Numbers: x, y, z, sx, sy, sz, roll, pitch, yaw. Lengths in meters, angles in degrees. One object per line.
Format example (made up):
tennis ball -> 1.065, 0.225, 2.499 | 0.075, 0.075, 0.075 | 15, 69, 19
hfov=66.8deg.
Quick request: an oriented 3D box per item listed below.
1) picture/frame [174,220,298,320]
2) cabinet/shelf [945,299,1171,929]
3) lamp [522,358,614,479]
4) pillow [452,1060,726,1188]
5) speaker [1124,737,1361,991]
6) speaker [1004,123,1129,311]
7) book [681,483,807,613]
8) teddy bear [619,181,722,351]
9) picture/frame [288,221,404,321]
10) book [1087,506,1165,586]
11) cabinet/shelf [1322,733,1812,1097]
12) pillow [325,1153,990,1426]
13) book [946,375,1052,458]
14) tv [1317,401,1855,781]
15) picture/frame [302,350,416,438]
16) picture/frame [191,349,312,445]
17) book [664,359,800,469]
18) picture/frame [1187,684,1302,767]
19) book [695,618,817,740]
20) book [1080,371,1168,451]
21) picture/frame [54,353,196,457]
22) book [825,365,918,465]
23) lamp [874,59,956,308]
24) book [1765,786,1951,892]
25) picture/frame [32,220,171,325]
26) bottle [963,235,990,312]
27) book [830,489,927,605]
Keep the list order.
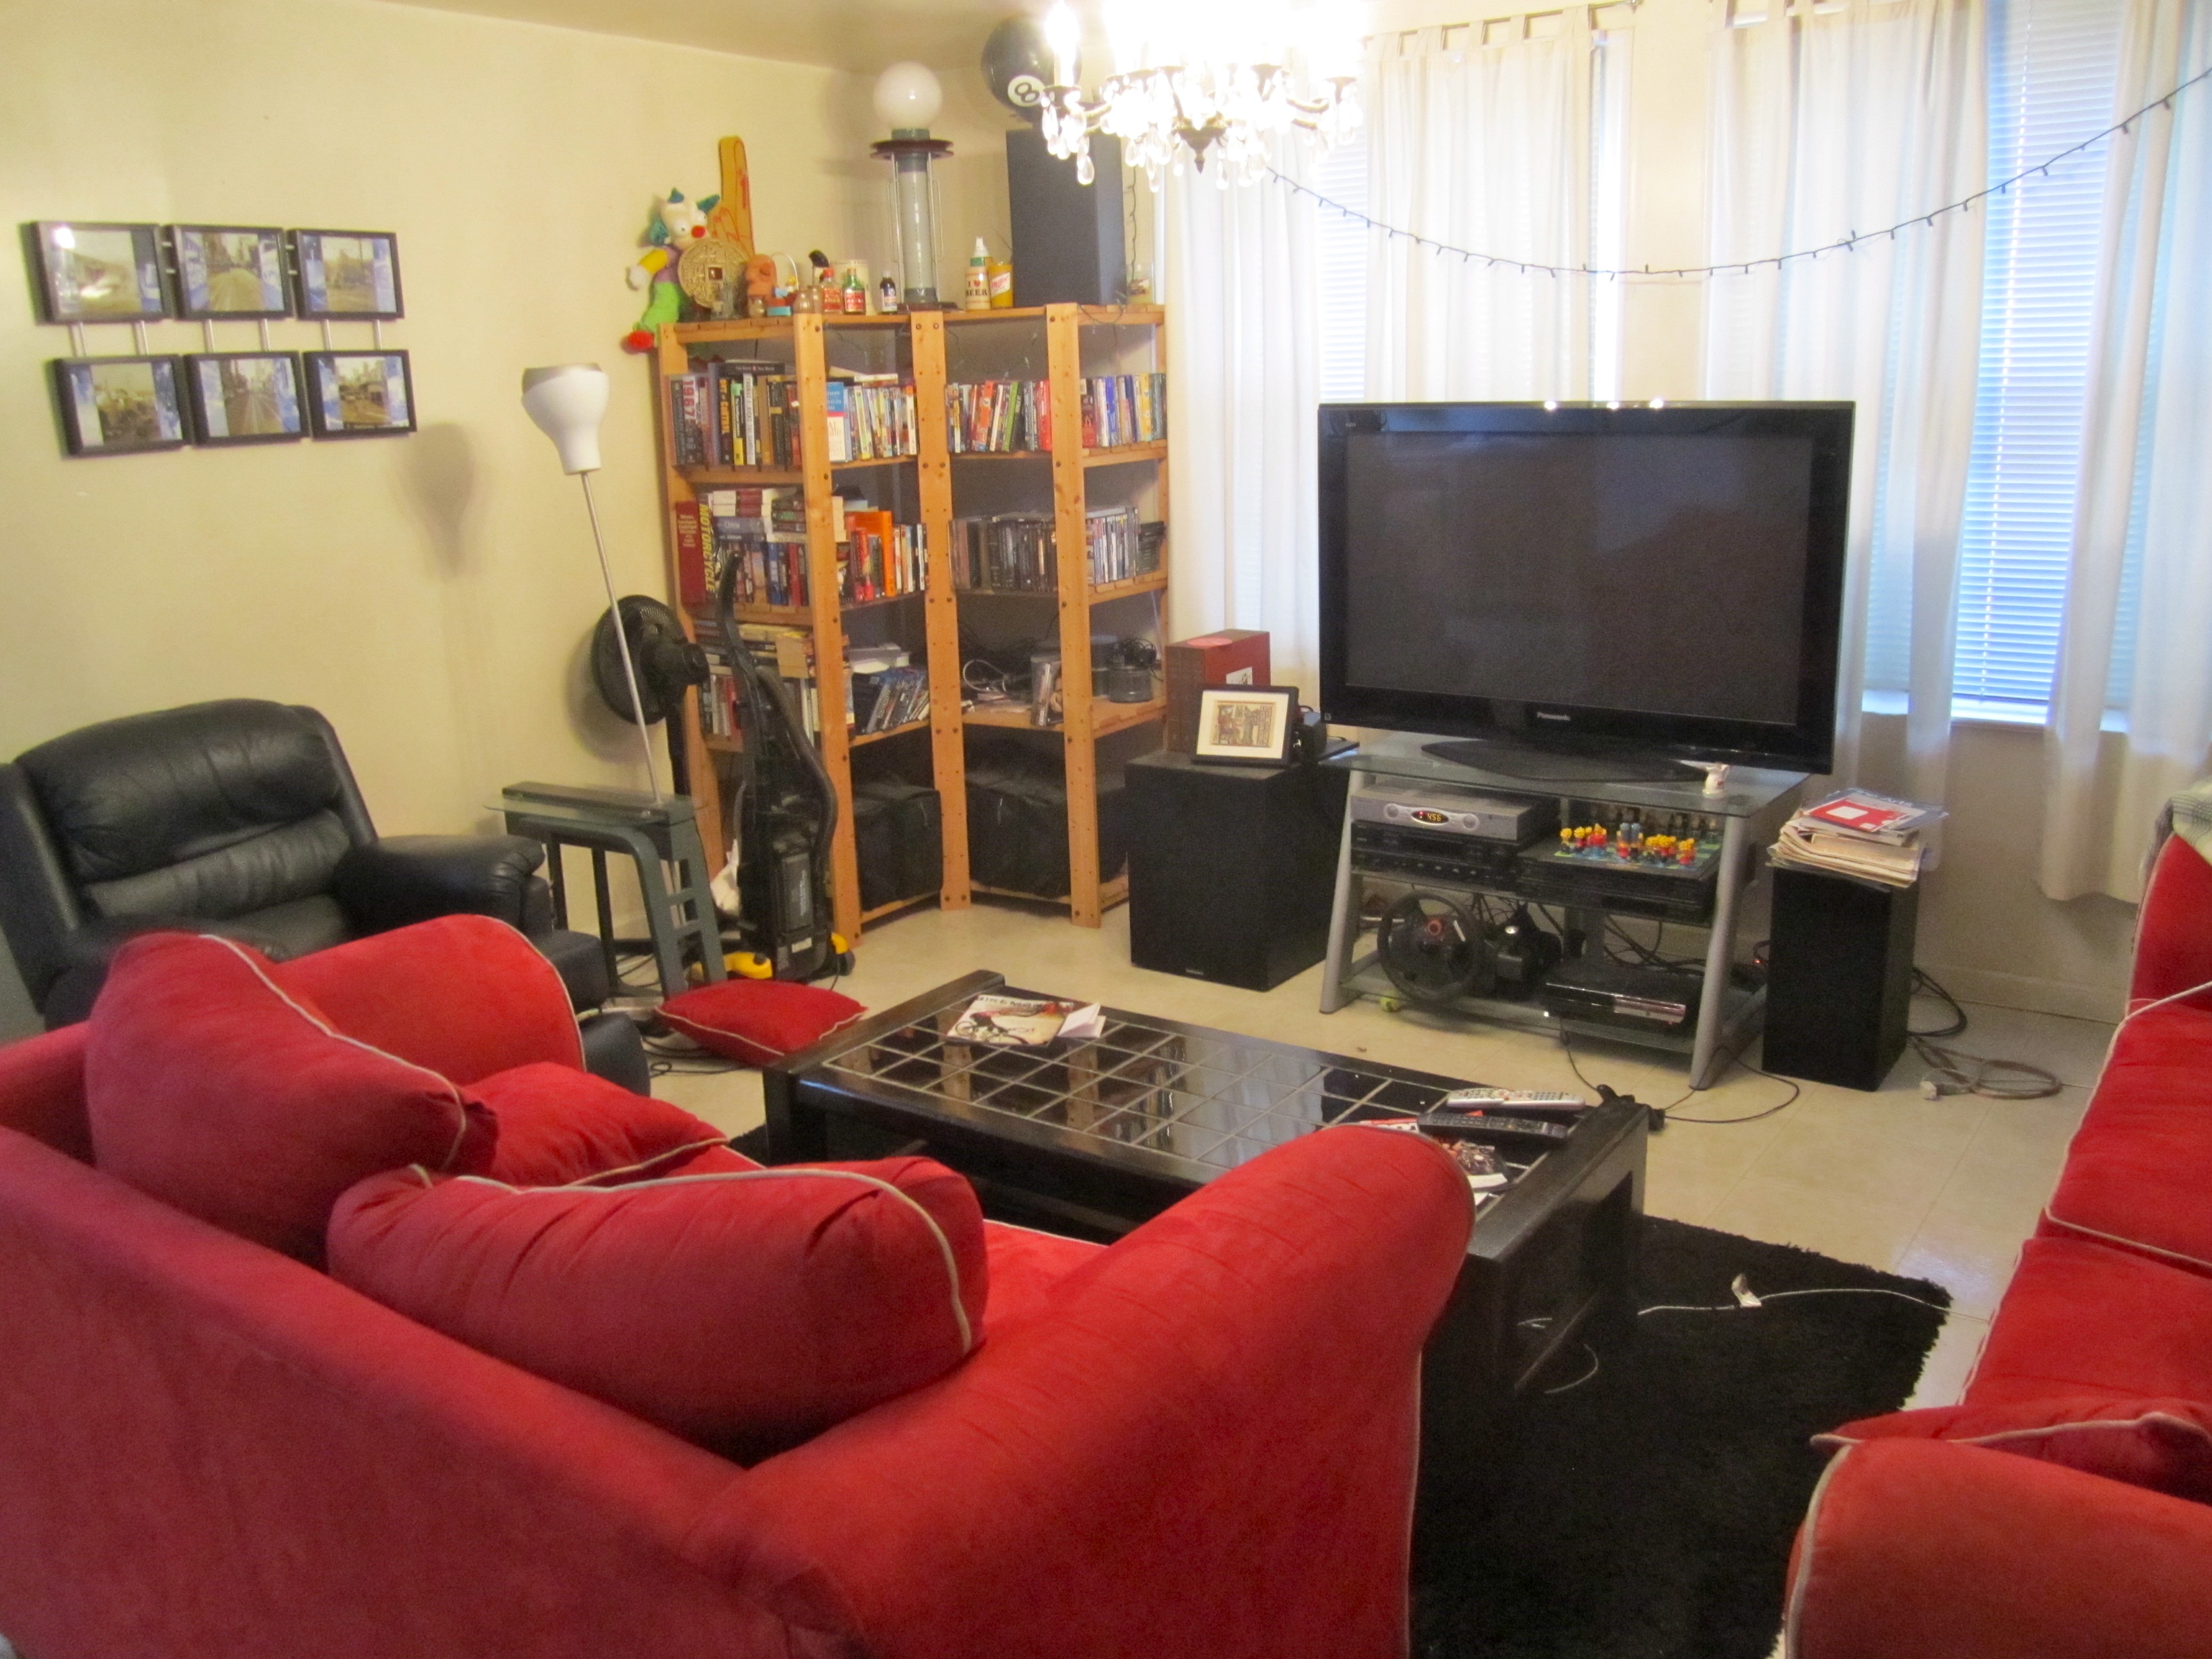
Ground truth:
picture/frame -> -2.246, -1.430, 4.302 | 0.027, 0.194, 0.271 | 11, 29, 34
cabinet/shelf -> -0.346, -0.699, 5.752 | 0.693, 1.955, 0.905 | 1, 16, 2
lamp -> -1.473, -1.110, 4.630 | 0.229, 0.269, 0.227 | -12, 3, 5
pillow -> -0.828, 0.409, 2.720 | 0.279, 0.084, 0.268 | 15, 11, 32
speaker -> 0.386, 0.021, 5.216 | 0.665, 0.704, 0.700 | 12, 23, 28
speaker -> -0.135, -1.957, 5.396 | 0.403, 0.526, 0.268 | 1, 18, 8
book -> -1.066, -0.887, 5.355 | 0.514, 0.479, 0.380 | 2, 9, 9
teddy bear -> -1.365, -1.742, 5.216 | 0.164, 0.545, 0.404 | 14, 23, 32
picture/frame -> -2.060, -1.497, 4.513 | 0.033, 0.214, 0.301 | 5, 12, 30
book -> 0.058, -0.919, 5.517 | 0.096, 0.221, 0.417 | 9, 19, 29
cabinet/shelf -> 1.188, 0.176, 4.598 | 1.168, 0.747, 0.608 | 8, 14, 33
pillow -> -0.471, 0.443, 1.882 | 0.474, 0.149, 0.382 | 7, 8, 23
book -> -0.340, -1.300, 5.354 | 0.295, 0.269, 0.113 | 2, 4, 13
tv -> 1.295, -0.632, 4.350 | 1.030, 0.614, 0.105 | 9, 21, 31
picture/frame -> -2.049, -1.184, 4.569 | 0.027, 0.187, 0.271 | 6, 11, 33
picture/frame -> -2.237, -1.124, 4.362 | 0.026, 0.193, 0.272 | 7, 15, 32
book -> -1.142, -1.283, 5.189 | 0.339, 0.242, 0.174 | 8, 18, 24
picture/frame -> 0.414, -0.297, 4.928 | 0.248, 0.201, 0.024 | 5, -15, 19
book -> -1.053, -0.463, 5.119 | 0.352, 0.323, 0.189 | 12, 20, 36
book -> 0.053, -1.337, 5.421 | 0.259, 0.323, 0.351 | 4, 12, 26
picture/frame -> -2.433, -1.045, 4.132 | 0.027, 0.224, 0.275 | 8, 15, 34
book -> -0.741, -1.284, 5.252 | 0.328, 0.290, 0.075 | 0, 5, -34
lamp -> -0.626, -2.079, 5.445 | 0.229, 0.765, 0.357 | -4, 18, -7
book -> 1.835, 0.020, 4.089 | 0.289, 0.096, 0.291 | 10, 23, 38
picture/frame -> -2.448, -1.345, 4.061 | 0.038, 0.197, 0.287 | 7, 15, 29
bottle -> -0.410, -1.771, 5.392 | 0.086, 0.208, 0.211 | -3, 17, -4
book -> -0.743, -0.886, 5.318 | 0.345, 0.320, 0.158 | -17, 23, -41
